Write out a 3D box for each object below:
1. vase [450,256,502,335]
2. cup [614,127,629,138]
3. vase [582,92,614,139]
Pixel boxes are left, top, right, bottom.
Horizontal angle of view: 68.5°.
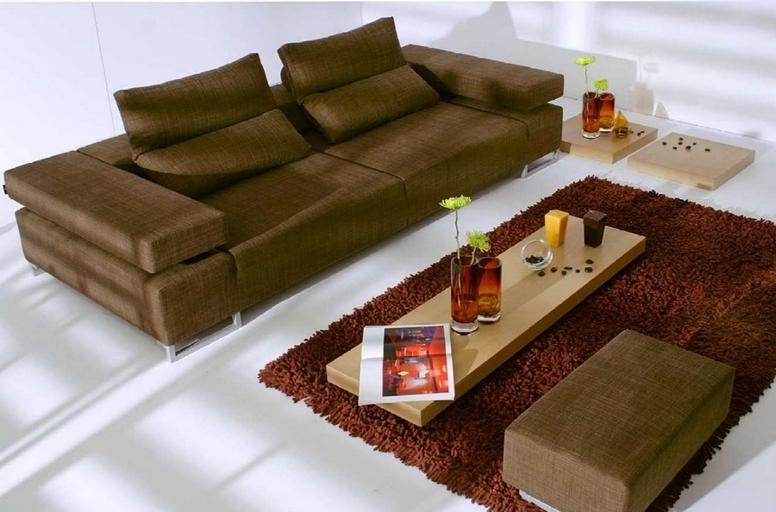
[{"bbox_3d":[0.423,0.186,2.760,0.285,0.356,0.150,-21,34,-30],"label":"vase"},{"bbox_3d":[1.837,-0.980,4.484,0.109,0.076,0.066,1,38,14],"label":"cup"},{"bbox_3d":[1.668,-1.120,4.498,0.247,0.322,0.248,-1,37,12],"label":"vase"}]
